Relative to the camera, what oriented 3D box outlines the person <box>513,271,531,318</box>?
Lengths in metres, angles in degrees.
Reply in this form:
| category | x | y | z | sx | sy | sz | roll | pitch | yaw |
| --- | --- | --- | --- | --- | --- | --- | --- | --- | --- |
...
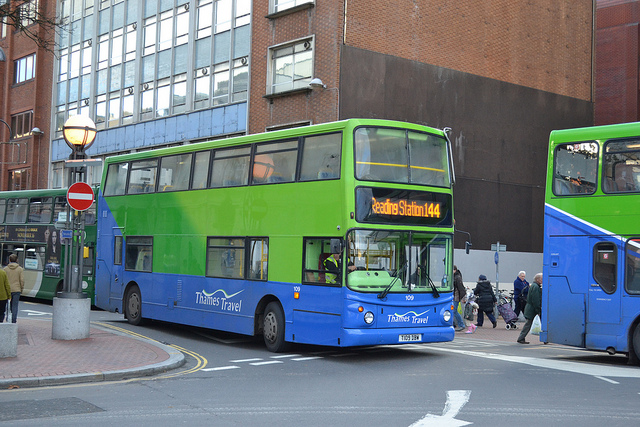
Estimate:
| category | x | y | z | sx | sy | sz | roll | pitch | yaw |
| --- | --- | --- | --- | --- | --- | --- | --- | --- | --- |
| person | 7.615 | 3.136 | 27.881 | 0.559 | 2.076 | 0.630 | -20 | 27 | -35 |

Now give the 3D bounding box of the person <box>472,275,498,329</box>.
| category | x | y | z | sx | sy | sz | roll | pitch | yaw |
| --- | --- | --- | --- | --- | --- | --- | --- | --- | --- |
| person | 6.245 | 3.379 | 27.943 | 0.796 | 2.061 | 1.220 | 3 | 4 | 18 |

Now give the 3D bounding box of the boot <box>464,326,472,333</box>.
| category | x | y | z | sx | sy | sz | roll | pitch | yaw |
| --- | --- | --- | --- | --- | --- | --- | --- | --- | --- |
| boot | 5.295 | 4.169 | 26.423 | 0.171 | 0.273 | 0.604 | -2 | -9 | 11 |

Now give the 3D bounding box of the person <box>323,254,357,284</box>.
| category | x | y | z | sx | sy | sz | roll | pitch | yaw |
| --- | --- | --- | --- | --- | --- | --- | --- | --- | --- |
| person | 0.551 | 1.398 | 19.152 | 0.792 | 0.829 | 0.579 | -15 | -8 | 37 |
